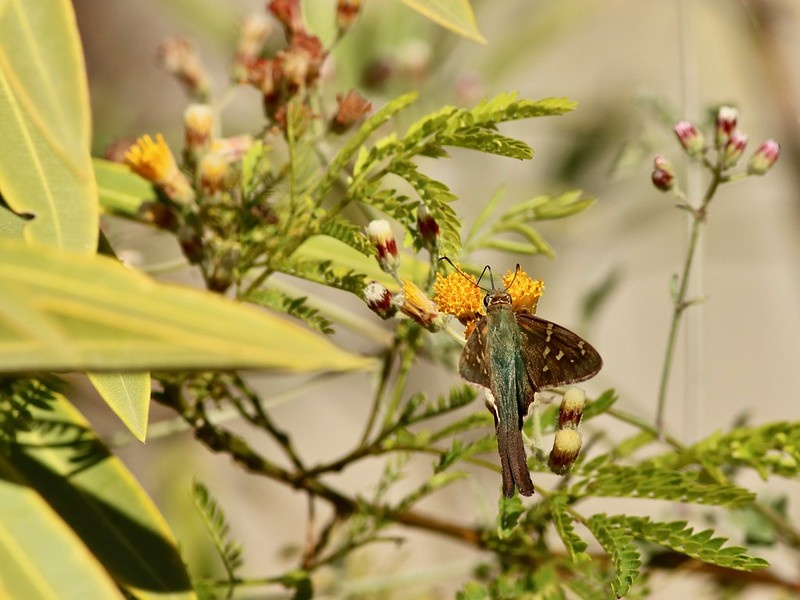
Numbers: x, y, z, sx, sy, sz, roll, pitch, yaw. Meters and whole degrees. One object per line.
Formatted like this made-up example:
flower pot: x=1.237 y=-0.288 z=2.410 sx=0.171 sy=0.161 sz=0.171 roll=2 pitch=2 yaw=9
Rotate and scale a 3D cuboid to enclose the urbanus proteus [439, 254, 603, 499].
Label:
urbanus proteus: x=0.122 y=0.107 z=1.403 sx=0.224 sy=0.310 sz=0.127 roll=-2 pitch=-16 yaw=-37
